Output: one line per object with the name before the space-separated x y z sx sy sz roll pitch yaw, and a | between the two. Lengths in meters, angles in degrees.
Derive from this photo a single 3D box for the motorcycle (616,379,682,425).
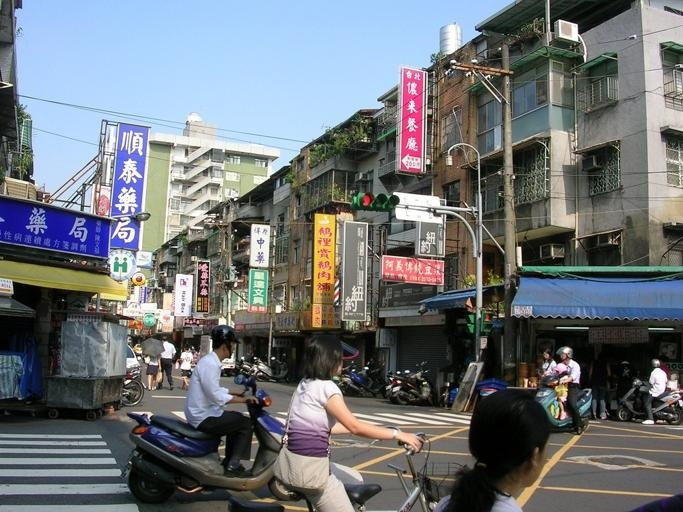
motorcycle | 8.122 3.846 21.349 1.792 1.196 0.918 -2 -23 26

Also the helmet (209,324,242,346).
helmet | -1.747 1.191 12.144 0.381 0.312 0.275 5 -1 -33

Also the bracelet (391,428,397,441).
bracelet | 0.629 2.119 9.649 0.065 0.112 0.134 0 -10 -1

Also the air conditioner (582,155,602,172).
air conditioner | 8.064 -2.989 26.470 0.455 0.633 0.701 9 -6 -33

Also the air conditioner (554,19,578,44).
air conditioner | 7.543 -7.527 27.345 0.937 0.785 0.352 5 -12 -23

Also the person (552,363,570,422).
person | 5.048 3.095 18.607 0.336 1.311 0.600 -2 -10 14

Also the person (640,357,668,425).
person | 8.105 3.529 21.076 0.653 1.656 0.729 -3 -10 19

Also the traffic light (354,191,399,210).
traffic light | 0.888 -1.496 21.887 0.761 0.524 1.392 -7 -12 34

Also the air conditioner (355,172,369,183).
air conditioner | 0.978 -3.917 40.372 0.647 0.360 0.429 4 4 39

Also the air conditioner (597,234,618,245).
air conditioner | 8.453 -0.493 25.692 0.337 0.404 0.754 3 -10 -18

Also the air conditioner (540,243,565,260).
air conditioner | 7.128 0.055 27.428 0.481 0.568 0.872 7 -11 -23

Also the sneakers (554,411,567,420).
sneakers | 5.030 3.679 18.581 0.344 0.181 0.074 6 -11 -32

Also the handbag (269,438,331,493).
handbag | -0.448 2.597 9.843 0.780 0.645 0.458 6 -37 11

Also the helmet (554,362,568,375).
helmet | 5.079 2.629 18.862 0.283 0.150 0.202 14 -1 -11

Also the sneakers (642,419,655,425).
sneakers | 7.866 4.286 20.847 0.307 0.131 0.124 1 -20 1

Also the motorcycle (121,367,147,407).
motorcycle | -5.833 3.702 22.650 0.727 1.161 0.615 2 -6 -16

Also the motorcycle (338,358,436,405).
motorcycle | 1.788 4.434 27.538 1.512 1.765 3.205 -11 -9 43
